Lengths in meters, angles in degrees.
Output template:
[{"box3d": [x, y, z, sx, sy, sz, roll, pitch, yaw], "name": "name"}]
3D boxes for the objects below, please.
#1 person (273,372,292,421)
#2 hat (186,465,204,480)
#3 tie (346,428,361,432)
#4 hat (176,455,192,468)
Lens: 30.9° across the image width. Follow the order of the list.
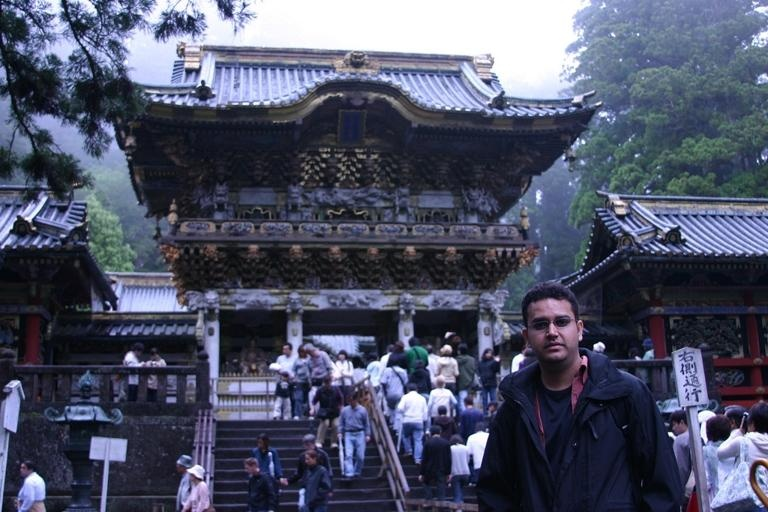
[{"box3d": [-3.146, 4.248, 42.590, 0.505, 1.525, 0.998, 1, -14, -4], "name": "person"}, {"box3d": [-5.051, 5.679, 36.835, 0.381, 0.215, 0.433, 26, -8, -26], "name": "hat"}, {"box3d": [-0.896, 4.907, 39.303, 0.380, 0.082, 0.088, -2, -13, 7], "name": "tie"}, {"box3d": [-5.444, 5.452, 37.292, 0.386, 0.193, 0.367, 8, -2, 33], "name": "hat"}]
